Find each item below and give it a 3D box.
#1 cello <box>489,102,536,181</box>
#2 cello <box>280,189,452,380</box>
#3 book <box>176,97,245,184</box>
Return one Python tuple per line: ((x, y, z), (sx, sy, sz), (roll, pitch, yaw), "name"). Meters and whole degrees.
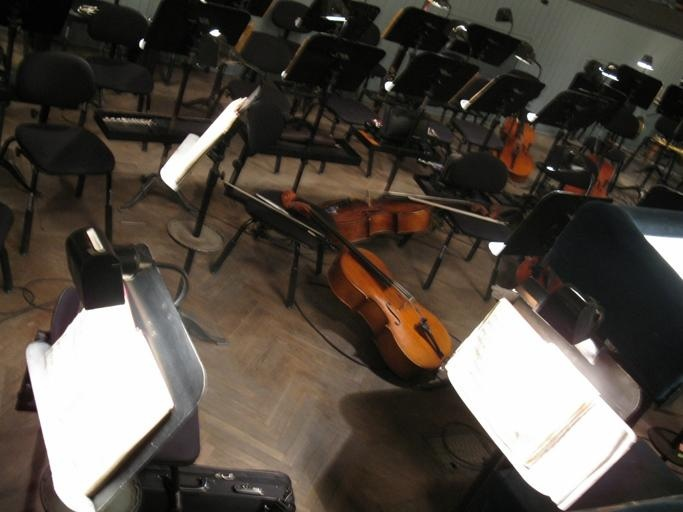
((2.154, -1.399, 7.266), (0.622, 0.820, 0.428), (12, 22, -19), "cello")
((0.162, 0.218, 4.157), (1.388, 0.311, 0.445), (48, 26, 9), "cello")
((-0.756, -0.654, 3.126), (0.115, 0.581, 0.237), (33, 12, -29), "book")
